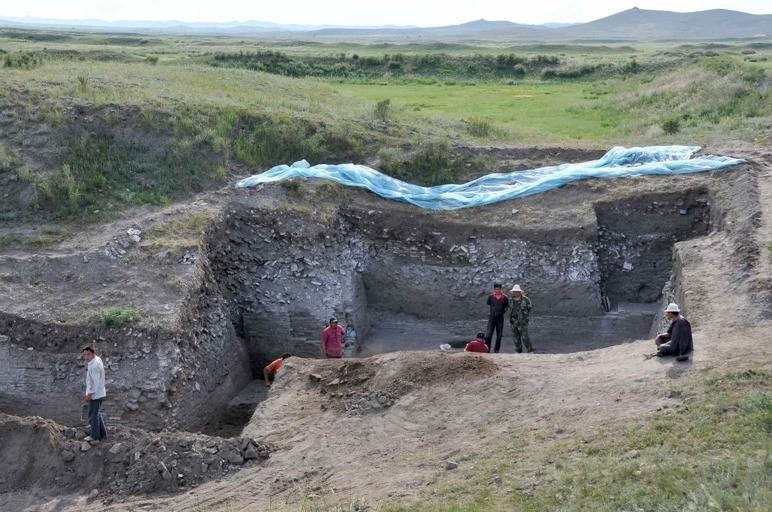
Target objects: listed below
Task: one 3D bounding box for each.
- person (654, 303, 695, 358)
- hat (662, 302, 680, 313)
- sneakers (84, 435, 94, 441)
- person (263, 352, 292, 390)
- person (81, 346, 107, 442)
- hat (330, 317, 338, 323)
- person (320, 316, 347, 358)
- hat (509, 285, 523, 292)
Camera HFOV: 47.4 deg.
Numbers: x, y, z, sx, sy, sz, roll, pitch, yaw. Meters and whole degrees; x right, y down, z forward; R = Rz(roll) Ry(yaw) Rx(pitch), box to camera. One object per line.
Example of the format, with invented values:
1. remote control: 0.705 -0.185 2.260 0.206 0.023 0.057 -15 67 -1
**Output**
1. person: 7.797 2.015 23.923 1.015 1.218 1.214 -2 2 13
2. hat: 7.736 1.416 23.680 0.465 0.184 0.518 2 8 22
3. sneakers: -8.031 4.880 23.633 0.213 0.187 0.119 1 0 9
4. person: -3.310 3.490 26.571 1.194 0.511 0.386 -30 -43 28
5. person: -7.870 3.666 23.569 0.494 2.512 0.410 -3 9 -18
6. hat: -1.627 1.921 26.435 0.170 0.141 0.136 -5 -7 12
7. person: -1.640 2.499 27.141 0.593 1.351 1.461 1 7 9
8. hat: 4.020 0.970 27.240 0.305 0.137 0.294 -2 -17 14
